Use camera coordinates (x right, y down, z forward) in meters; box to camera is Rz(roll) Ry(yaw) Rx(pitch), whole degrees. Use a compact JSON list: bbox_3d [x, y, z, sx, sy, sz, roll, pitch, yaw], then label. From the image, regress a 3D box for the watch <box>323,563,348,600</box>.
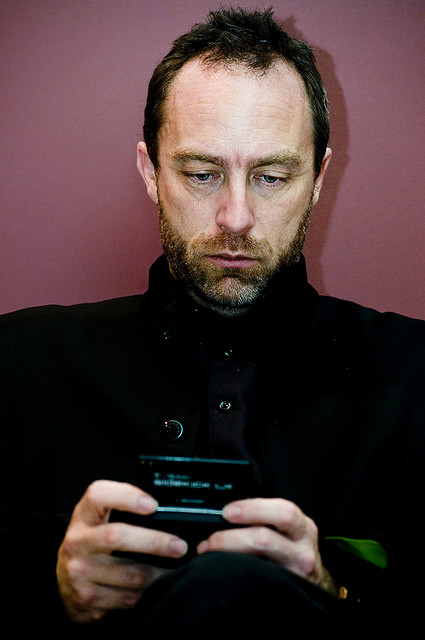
[{"bbox_3d":[0.353,0.761,1.754,0.048,0.034,0.088,-26,44,-6],"label":"watch"}]
